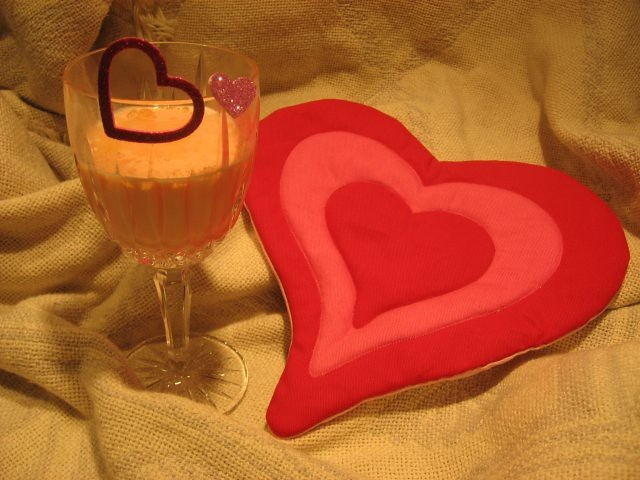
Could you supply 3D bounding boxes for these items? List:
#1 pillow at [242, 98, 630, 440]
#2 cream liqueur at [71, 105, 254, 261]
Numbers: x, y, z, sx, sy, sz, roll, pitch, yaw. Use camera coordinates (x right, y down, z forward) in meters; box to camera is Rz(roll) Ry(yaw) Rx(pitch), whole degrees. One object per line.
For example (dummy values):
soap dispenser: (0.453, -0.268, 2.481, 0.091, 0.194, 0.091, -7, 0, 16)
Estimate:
pillow: (0.175, -0.016, 1.104, 0.658, 0.213, 0.542, -9, 47, -15)
cream liqueur: (-0.207, -0.089, 0.895, 0.257, 0.205, 0.264, -13, 25, -15)
